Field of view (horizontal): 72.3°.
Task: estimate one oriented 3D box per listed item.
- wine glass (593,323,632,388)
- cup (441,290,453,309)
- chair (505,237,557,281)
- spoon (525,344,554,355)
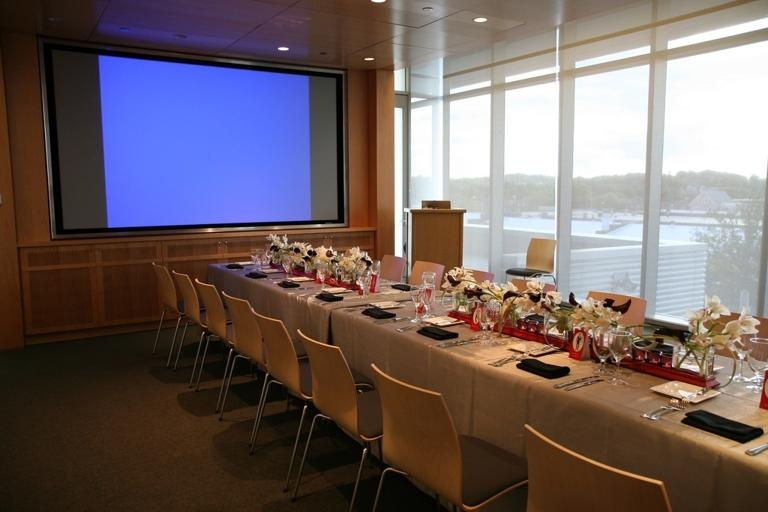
[{"bbox_3d":[1.616,0.674,3.758,0.247,0.390,0.283,3,8,22],"label":"wine glass"},{"bbox_3d":[0.638,0.443,5.361,0.153,0.149,0.268,3,22,0],"label":"cup"},{"bbox_3d":[2.269,0.030,8.184,0.731,0.536,0.745,-1,7,5],"label":"chair"},{"bbox_3d":[1.235,0.743,4.146,0.163,0.024,0.085,-11,18,-33],"label":"spoon"}]
